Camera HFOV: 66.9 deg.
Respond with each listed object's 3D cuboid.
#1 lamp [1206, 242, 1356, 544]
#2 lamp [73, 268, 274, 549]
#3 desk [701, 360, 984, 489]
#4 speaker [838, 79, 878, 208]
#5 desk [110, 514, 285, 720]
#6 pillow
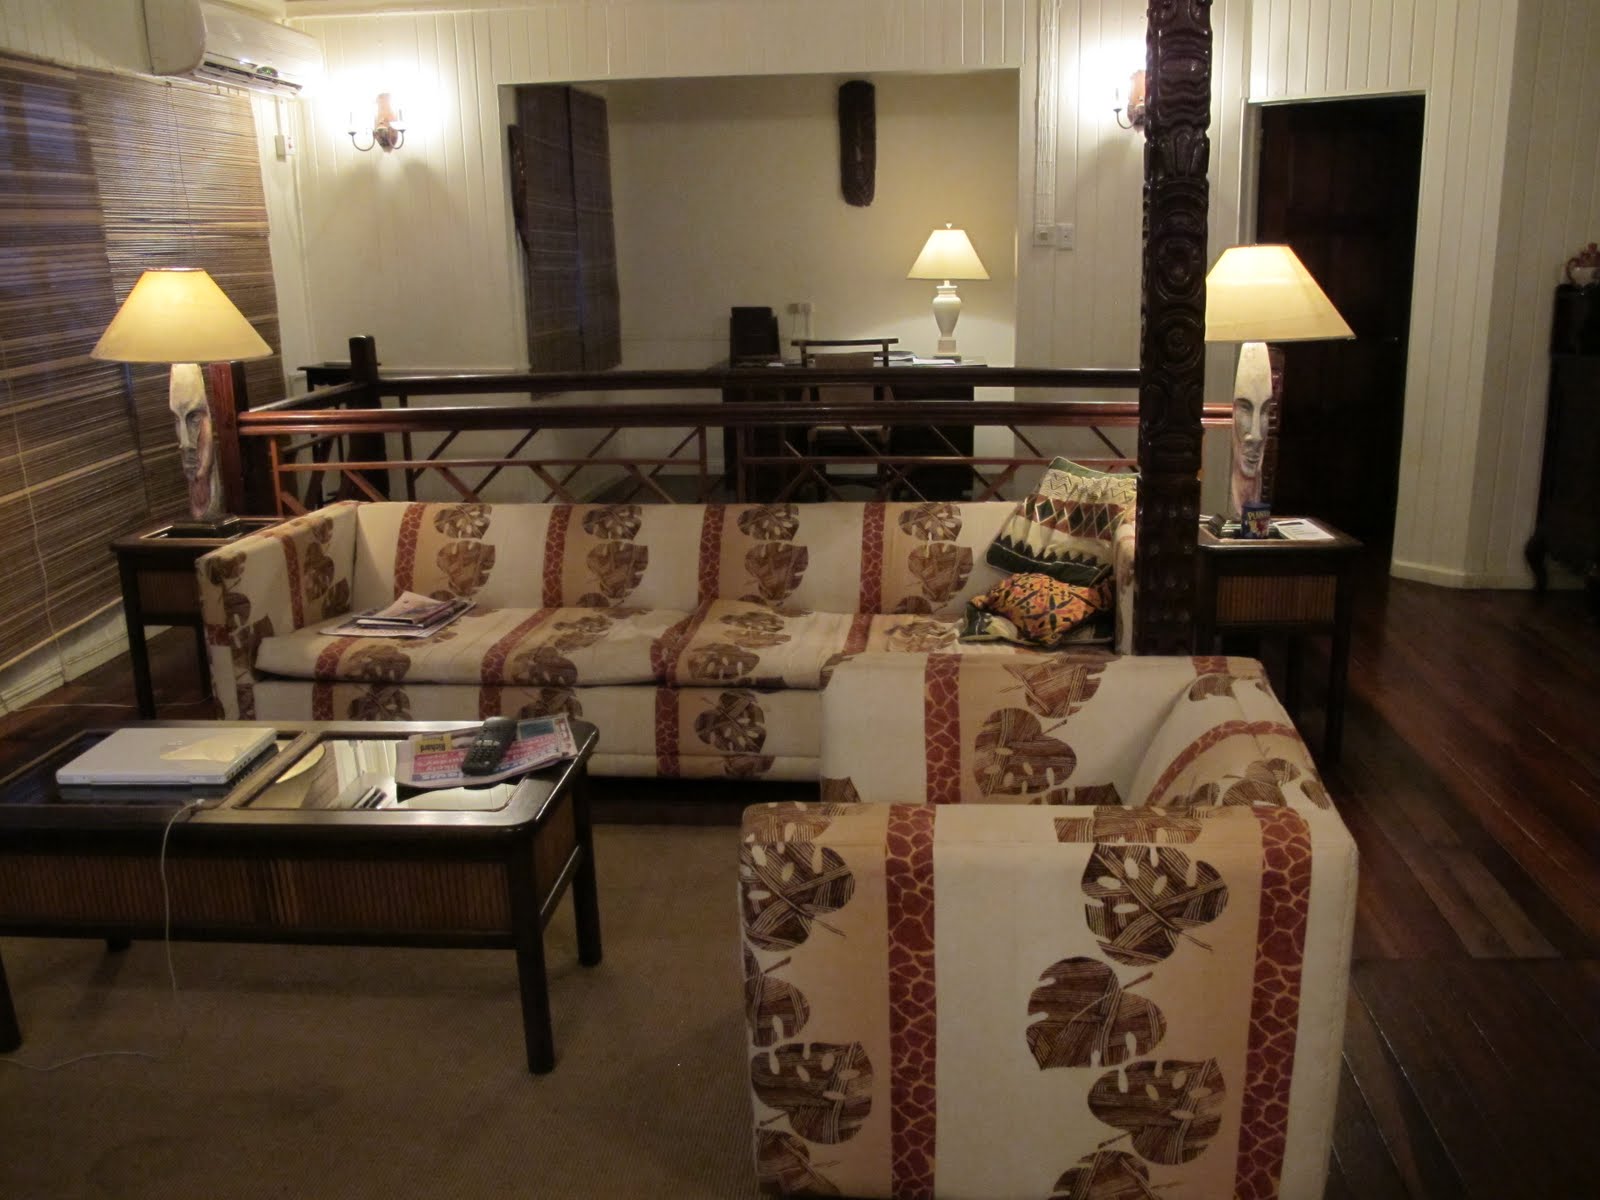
[{"bbox_3d":[1.435,-0.630,3.678,0.407,0.863,0.426,4,16,19],"label":"lamp"},{"bbox_3d":[-2.095,-0.692,4.132,0.488,0.834,0.412,-13,19,-36],"label":"lamp"},{"bbox_3d":[0.223,-0.834,5.776,0.891,0.593,0.492,1,21,5],"label":"desk"},{"bbox_3d":[0.375,-2.915,7.813,0.267,0.730,0.529,-1,15,3],"label":"speaker"},{"bbox_3d":[-2.004,0.066,4.044,0.470,0.613,0.624,0,16,0],"label":"desk"},{"bbox_3d":[0.758,-0.147,3.682,0.480,0.469,0.568,2,15,15],"label":"pillow"}]
